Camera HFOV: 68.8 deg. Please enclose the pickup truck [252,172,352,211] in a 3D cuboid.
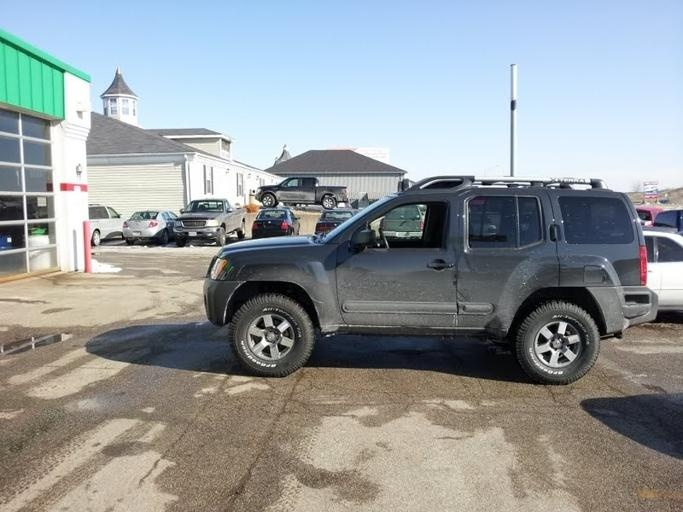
[{"bbox_3d":[-2.778,-4.390,35.659,6.832,1.591,2.575,2,3,-3],"label":"pickup truck"}]
